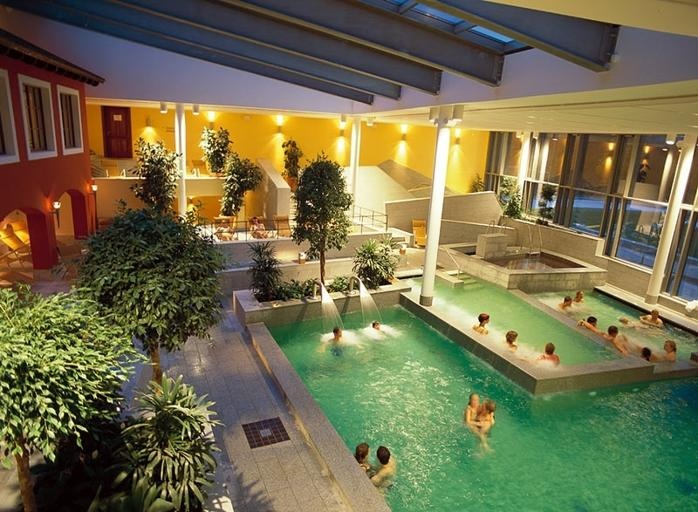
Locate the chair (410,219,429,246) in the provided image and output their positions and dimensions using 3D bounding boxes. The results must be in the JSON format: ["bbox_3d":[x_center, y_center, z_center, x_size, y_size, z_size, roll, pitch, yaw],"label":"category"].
[{"bbox_3d":[3.190,-1.068,19.253,0.589,0.998,1.334,3,14,6],"label":"chair"}]

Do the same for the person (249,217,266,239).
[{"bbox_3d":[-3.198,-0.991,15.364,0.484,0.797,1.261,-3,5,-27],"label":"person"}]

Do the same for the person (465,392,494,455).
[{"bbox_3d":[2.445,2.990,7.828,0.421,0.530,0.930,0,16,1],"label":"person"}]

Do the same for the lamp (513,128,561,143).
[{"bbox_3d":[8.660,-5.742,20.347,1.334,0.566,3.691,1,14,-2],"label":"lamp"}]

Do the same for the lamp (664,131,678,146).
[{"bbox_3d":[9.981,-3.632,13.074,0.269,0.295,2.145,12,17,35],"label":"lamp"}]

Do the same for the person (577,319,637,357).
[{"bbox_3d":[6.658,1.982,10.641,1.024,0.592,1.549,-2,14,-14],"label":"person"}]

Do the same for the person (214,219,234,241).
[{"bbox_3d":[-4.406,-0.907,15.047,0.741,0.689,0.994,0,30,-9],"label":"person"}]

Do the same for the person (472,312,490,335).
[{"bbox_3d":[3.392,1.716,10.788,0.387,0.476,0.975,6,15,19],"label":"person"}]
